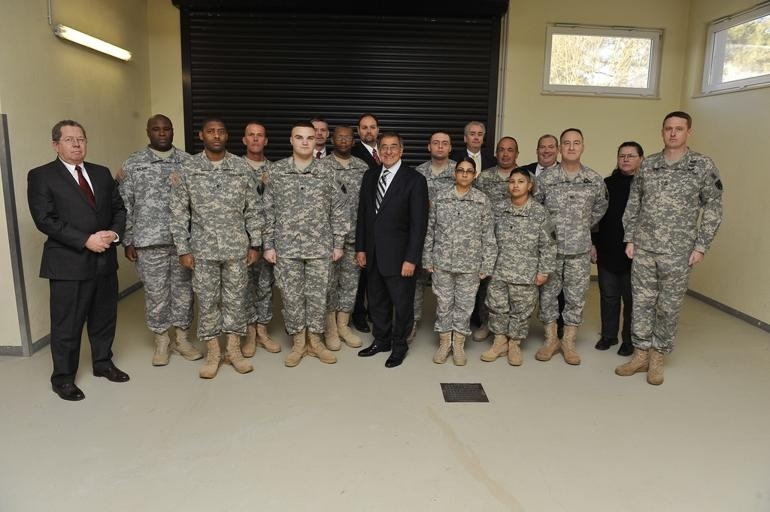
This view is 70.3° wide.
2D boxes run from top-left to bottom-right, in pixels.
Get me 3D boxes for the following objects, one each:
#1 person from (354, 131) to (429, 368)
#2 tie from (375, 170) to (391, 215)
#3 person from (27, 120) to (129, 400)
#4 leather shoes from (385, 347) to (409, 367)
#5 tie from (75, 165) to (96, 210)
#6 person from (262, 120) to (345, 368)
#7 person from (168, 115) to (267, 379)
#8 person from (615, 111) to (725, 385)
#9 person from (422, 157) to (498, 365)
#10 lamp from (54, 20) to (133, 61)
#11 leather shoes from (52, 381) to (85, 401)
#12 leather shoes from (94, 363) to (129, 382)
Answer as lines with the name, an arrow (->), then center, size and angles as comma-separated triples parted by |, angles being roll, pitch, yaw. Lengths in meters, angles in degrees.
person -> 0.026, -0.057, 4.970 | 0.653, 2.058, 0.504 | 6, 16, 11
tie -> -0.028, -0.599, 4.922 | 0.121, 0.364, 0.154 | 4, 16, 6
person -> -2.475, 0.033, 4.488 | 0.687, 2.208, 0.610 | -6, 18, -28
leather shoes -> 0.105, 0.935, 5.045 | 0.103, 0.094, 0.253 | 2, 7, 29
tie -> -2.462, -0.569, 4.469 | 0.112, 0.348, 0.025 | -30, 4, -31
person -> -0.715, -0.226, 4.896 | 0.748, 1.852, 0.325 | 0, 16, -9
person -> -1.446, -0.070, 4.810 | 0.707, 2.174, 0.467 | -10, 20, -37
person -> 2.406, -0.064, 4.744 | 0.749, 2.291, 0.560 | 11, 18, 27
person -> 0.662, 0.068, 4.962 | 0.658, 1.843, 0.385 | 4, 16, 4
lamp -> -3.115, -2.272, 5.805 | 0.226, 0.223, 0.928 | 4, 15, 7
leather shoes -> -2.602, 1.120, 4.497 | 0.282, 0.106, 0.125 | 9, 10, 15
leather shoes -> -2.380, 0.998, 4.807 | 0.381, 0.138, 0.139 | 5, 9, 13
